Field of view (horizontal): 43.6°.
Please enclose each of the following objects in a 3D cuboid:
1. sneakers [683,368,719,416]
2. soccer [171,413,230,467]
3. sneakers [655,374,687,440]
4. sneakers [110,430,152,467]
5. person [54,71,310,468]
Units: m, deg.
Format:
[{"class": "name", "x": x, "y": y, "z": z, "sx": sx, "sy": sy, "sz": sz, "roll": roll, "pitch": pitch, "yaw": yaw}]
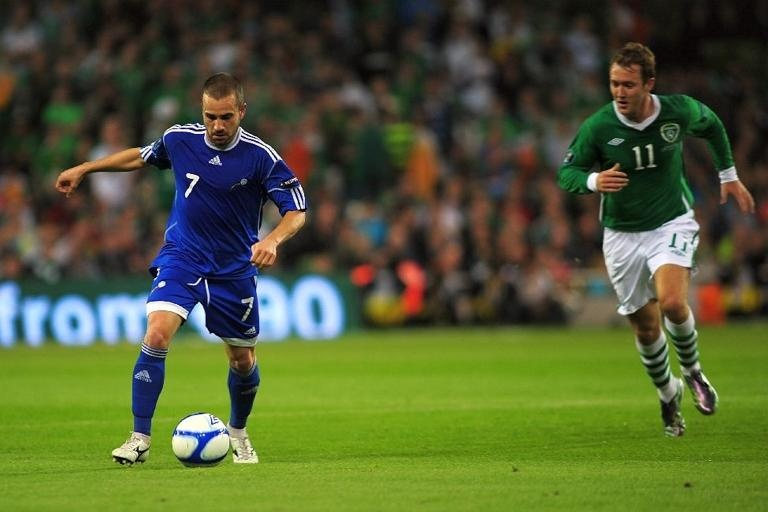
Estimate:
[{"class": "sneakers", "x": 3.146, "y": 1.348, "z": 9.544, "sx": 0.224, "sy": 0.547, "sz": 0.240, "roll": -21, "pitch": -20, "yaw": -3}, {"class": "soccer", "x": -1.543, "y": 1.546, "z": 8.273, "sx": 0.495, "sy": 0.439, "sz": 0.457, "roll": 2, "pitch": -4, "yaw": -5}, {"class": "sneakers", "x": 2.820, "y": 1.469, "z": 9.407, "sx": 0.214, "sy": 0.599, "sz": 0.267, "roll": -5, "pitch": -33, "yaw": 12}, {"class": "sneakers", "x": -2.161, "y": 1.641, "z": 8.233, "sx": 0.138, "sy": 0.261, "sz": 0.285, "roll": 3, "pitch": 6, "yaw": 41}, {"class": "person", "x": -1.662, "y": 0.110, "z": 8.708, "sx": 1.613, "sy": 3.420, "sz": 0.949, "roll": -2, "pitch": 5, "yaw": -16}]
